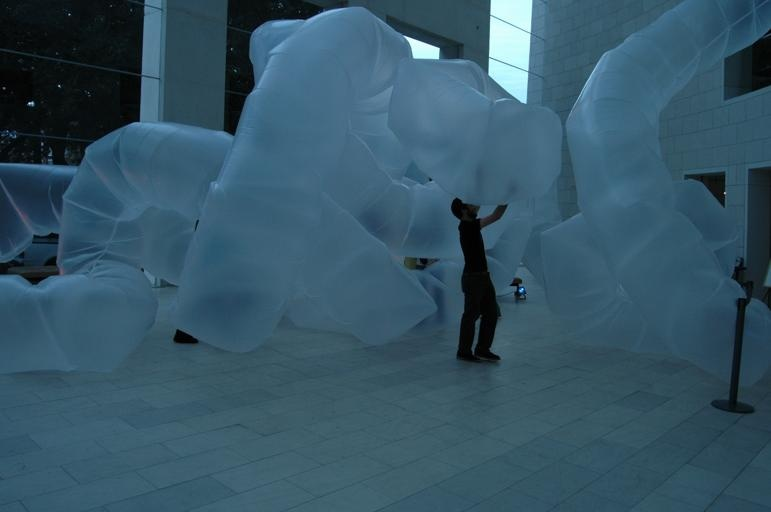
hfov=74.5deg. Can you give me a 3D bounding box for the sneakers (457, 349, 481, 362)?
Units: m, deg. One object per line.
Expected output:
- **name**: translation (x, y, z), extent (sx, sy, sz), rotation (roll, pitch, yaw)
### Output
- **sneakers**: translation (1.013, 1.232, 6.253), extent (0.311, 0.136, 0.111), rotation (1, 0, 9)

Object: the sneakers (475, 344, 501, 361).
- **sneakers**: translation (1.231, 1.212, 6.269), extent (0.347, 0.161, 0.150), rotation (11, 0, 8)

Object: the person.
- **person**: translation (1.082, 0.298, 6.120), extent (0.635, 1.982, 0.370), rotation (3, 9, 13)
